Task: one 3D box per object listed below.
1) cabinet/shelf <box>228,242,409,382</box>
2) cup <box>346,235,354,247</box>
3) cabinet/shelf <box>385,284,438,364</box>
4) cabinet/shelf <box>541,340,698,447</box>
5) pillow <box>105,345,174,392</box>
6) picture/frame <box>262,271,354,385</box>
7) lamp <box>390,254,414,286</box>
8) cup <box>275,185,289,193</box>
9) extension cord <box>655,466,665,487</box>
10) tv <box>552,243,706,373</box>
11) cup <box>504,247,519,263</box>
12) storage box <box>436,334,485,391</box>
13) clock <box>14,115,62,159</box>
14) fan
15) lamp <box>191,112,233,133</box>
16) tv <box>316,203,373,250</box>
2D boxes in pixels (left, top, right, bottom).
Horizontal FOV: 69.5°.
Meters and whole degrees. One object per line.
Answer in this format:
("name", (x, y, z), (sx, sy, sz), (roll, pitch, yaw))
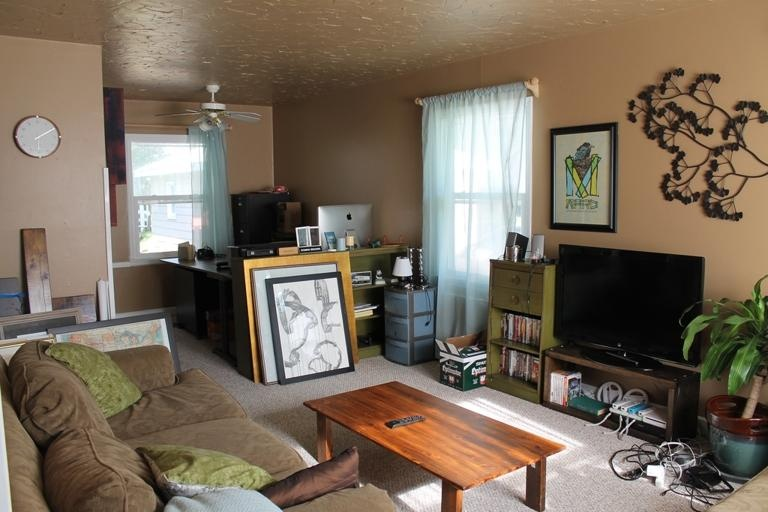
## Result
("cabinet/shelf", (-0.681, 0.570, 6.106), (1.900, 1.178, 0.549), (-7, 8, -28))
("cup", (-0.399, -0.167, 6.407), (0.112, 0.122, 0.113), (1, 0, 0))
("cabinet/shelf", (0.358, 0.794, 6.399), (0.632, 0.867, 0.643), (-3, 6, -40))
("cabinet/shelf", (2.049, 1.180, 4.890), (0.452, 0.548, 1.198), (-3, 6, -36))
("pillow", (-1.905, 0.895, 4.485), (0.374, 0.329, 0.505), (-12, -1, -25))
("picture/frame", (-0.829, 0.763, 5.699), (1.121, 1.251, 0.088), (-6, -3, -29))
("lamp", (0.145, 0.163, 6.346), (0.298, 0.381, 0.296), (5, 9, 32))
("cup", (-1.565, -1.015, 8.439), (0.136, 0.159, 0.147), (1, 4, 0))
("extension cord", (2.016, 1.577, 4.012), (0.059, 0.123, 0.170), (4, 9, 34))
("tv", (2.124, 0.404, 4.843), (0.335, 0.933, 1.372), (-6, 7, -34))
("cup", (1.251, -0.026, 5.403), (0.162, 0.135, 0.116), (4, -2, -39))
("storage box", (0.822, 1.080, 5.634), (0.543, 0.464, 0.388), (-3, 5, -28))
("clock", (-3.344, -1.141, 5.278), (0.434, 0.441, 0.075), (-6, 6, -34))
("fan", (-2.482, -2.022, 7.497), (0.751, 0.298, 0.802), (2, -2, -44))
("lamp", (-2.278, -1.730, 7.180), (0.524, 0.178, 0.485), (8, 13, 23))
("tv", (-0.394, -0.364, 6.652), (0.731, 0.469, 0.230), (4, 18, 36))
